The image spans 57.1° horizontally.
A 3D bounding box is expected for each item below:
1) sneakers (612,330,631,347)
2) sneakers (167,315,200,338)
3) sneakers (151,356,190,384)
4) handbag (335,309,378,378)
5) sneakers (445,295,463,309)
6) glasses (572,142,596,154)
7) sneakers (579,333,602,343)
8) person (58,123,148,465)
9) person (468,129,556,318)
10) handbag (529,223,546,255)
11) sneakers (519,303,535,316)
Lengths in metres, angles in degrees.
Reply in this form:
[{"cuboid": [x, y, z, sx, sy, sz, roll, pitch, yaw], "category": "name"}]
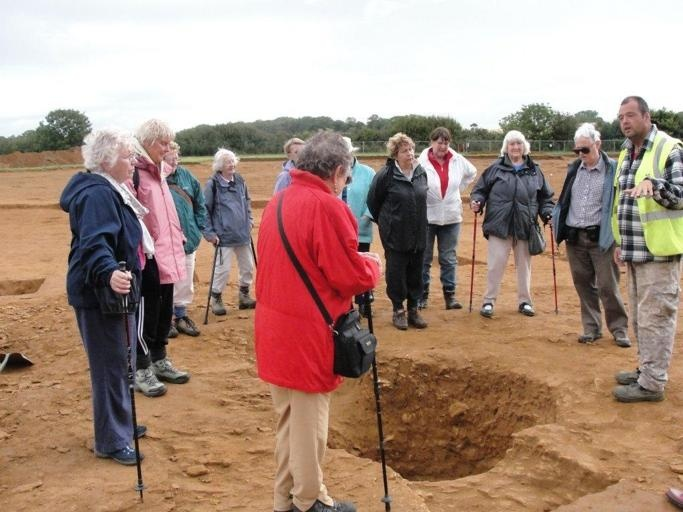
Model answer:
[{"cuboid": [3.549, 1.035, 7.899, 0.106, 0.146, 0.329, -4, 11, 10], "category": "sneakers"}, {"cuboid": [-2.191, 0.956, 8.399, 0.482, 0.239, 0.183, -2, -4, 15], "category": "sneakers"}, {"cuboid": [-1.969, 1.309, 7.177, 0.504, 0.264, 0.200, 12, 26, 2], "category": "sneakers"}, {"cuboid": [0.120, 0.711, 4.954, 0.253, 0.582, 0.372, 4, 8, 30], "category": "handbag"}, {"cuboid": [1.757, 0.717, 9.723, 0.342, 0.251, 0.133, -9, -3, 40], "category": "sneakers"}, {"cuboid": [3.037, -1.311, 7.750, 0.176, 0.060, 0.166, -36, 17, -27], "category": "glasses"}, {"cuboid": [3.221, 1.049, 8.096, 0.309, 0.152, 0.122, 2, 0, -17], "category": "sneakers"}, {"cuboid": [-2.069, 0.381, 5.459, 0.657, 2.934, 0.761, -2, 7, -17], "category": "person"}, {"cuboid": [2.434, -0.439, 8.955, 1.135, 2.689, 0.730, 1, 7, 12], "category": "person"}, {"cuboid": [2.777, -0.235, 8.871, 0.193, 0.453, 0.484, 2, 7, 18], "category": "handbag"}, {"cuboid": [2.762, 0.791, 9.289, 0.115, 0.114, 0.258, -3, 0, -14], "category": "sneakers"}]
